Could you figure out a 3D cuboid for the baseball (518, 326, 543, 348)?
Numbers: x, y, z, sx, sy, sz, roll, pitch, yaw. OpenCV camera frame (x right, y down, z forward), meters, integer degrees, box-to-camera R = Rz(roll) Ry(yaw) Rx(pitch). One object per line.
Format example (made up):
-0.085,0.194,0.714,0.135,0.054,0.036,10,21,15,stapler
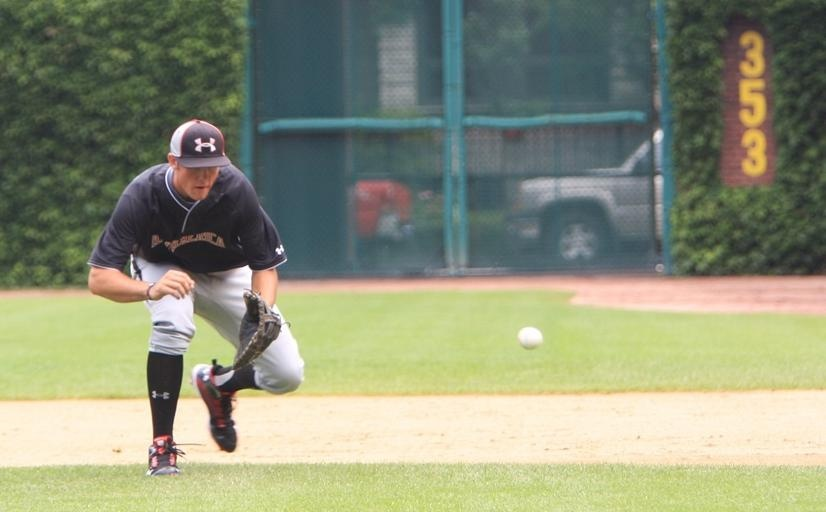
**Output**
1.487,1.118,21.612,0.298,0.155,0.273,6,24,11,baseball

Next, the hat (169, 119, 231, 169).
-2.347,-1.170,18.404,0.631,0.520,0.226,-3,5,-7,hat

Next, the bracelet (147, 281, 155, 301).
-2.884,0.453,18.377,0.071,0.159,0.141,7,-22,-3,bracelet

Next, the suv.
2.860,-0.604,26.325,3.015,1.569,1.635,-2,3,0,suv
